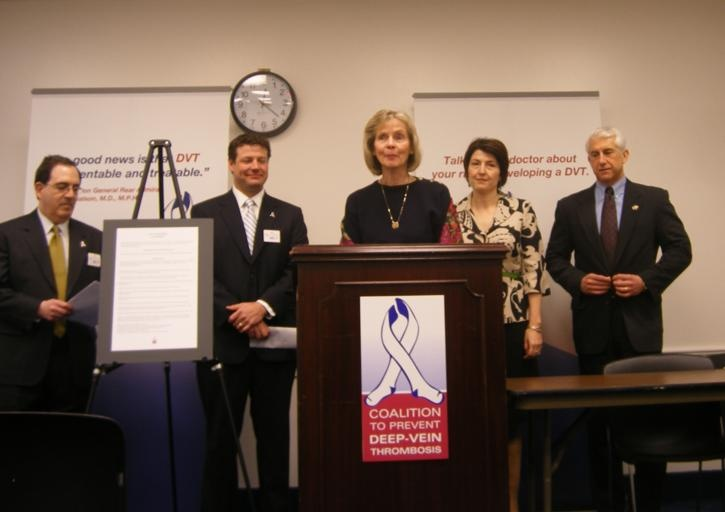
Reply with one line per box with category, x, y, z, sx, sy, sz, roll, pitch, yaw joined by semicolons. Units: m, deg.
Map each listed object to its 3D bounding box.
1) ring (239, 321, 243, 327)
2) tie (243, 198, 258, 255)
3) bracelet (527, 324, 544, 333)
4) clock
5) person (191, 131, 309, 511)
ring;-0.758;0.423;4.211;0.026;0.026;0.008;0;-2;-24
tie;-0.753;-0.202;4.476;0.076;0.381;0.044;6;-25;-13
bracelet;1.174;0.494;4.608;0.100;0.063;0.135;0;-10;-6
clock;-0.798;-1.200;5.363;0.516;0.578;0.099;-11;-6;-3
person;-0.722;0.389;4.391;0.734;2.457;0.456;0;-2;-16
